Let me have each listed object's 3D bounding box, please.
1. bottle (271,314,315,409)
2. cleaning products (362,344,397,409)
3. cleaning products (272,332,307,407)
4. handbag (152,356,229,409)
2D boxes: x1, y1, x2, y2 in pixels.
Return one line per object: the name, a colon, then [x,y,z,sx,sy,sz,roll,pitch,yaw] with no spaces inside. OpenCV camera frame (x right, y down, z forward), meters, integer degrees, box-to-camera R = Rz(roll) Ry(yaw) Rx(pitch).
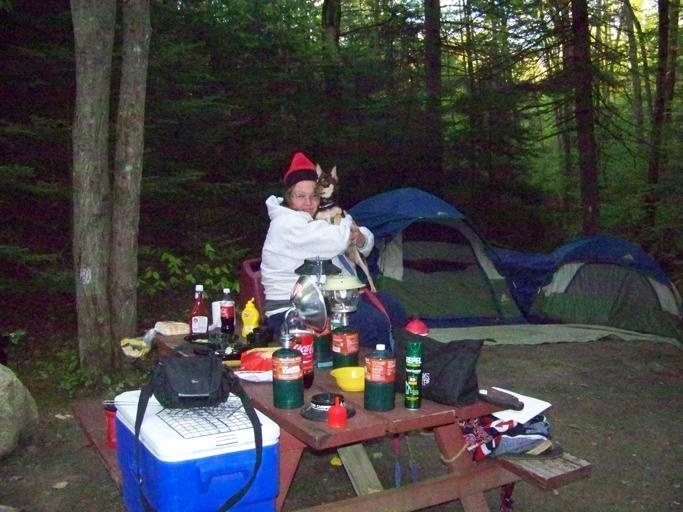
bottle: [-0.312,0.742,4.544,0.336,0.512,0.312,4,11,-1]
cleaning products: [0.259,0.807,4.392,0.211,0.435,0.153,1,8,0]
cleaning products: [-0.344,0.774,4.433,0.236,0.489,0.176,-2,8,-21]
handbag: [-1.021,0.804,4.489,0.687,0.390,0.329,2,-18,-16]
